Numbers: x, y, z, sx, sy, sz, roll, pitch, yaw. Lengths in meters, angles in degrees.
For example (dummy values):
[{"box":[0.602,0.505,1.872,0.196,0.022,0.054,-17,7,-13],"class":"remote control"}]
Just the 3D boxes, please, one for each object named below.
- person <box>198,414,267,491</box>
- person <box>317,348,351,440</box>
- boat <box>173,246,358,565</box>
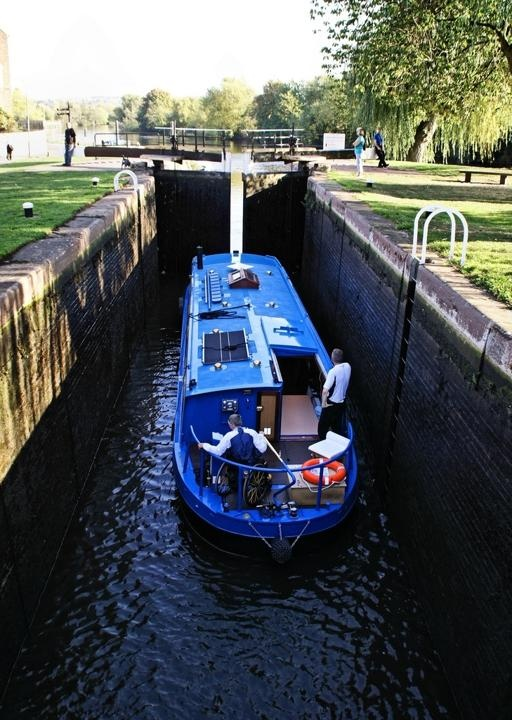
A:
[{"box":[-0.285,1.184,6.843,0.928,0.823,0.363,-4,10,-28],"class":"person"},{"box":[1.307,0.620,7.938,0.466,1.688,1.079,2,9,9],"class":"person"},{"box":[-0.175,0.298,9.843,1.948,2.597,8.168,-1,33,-5],"class":"boat"}]
